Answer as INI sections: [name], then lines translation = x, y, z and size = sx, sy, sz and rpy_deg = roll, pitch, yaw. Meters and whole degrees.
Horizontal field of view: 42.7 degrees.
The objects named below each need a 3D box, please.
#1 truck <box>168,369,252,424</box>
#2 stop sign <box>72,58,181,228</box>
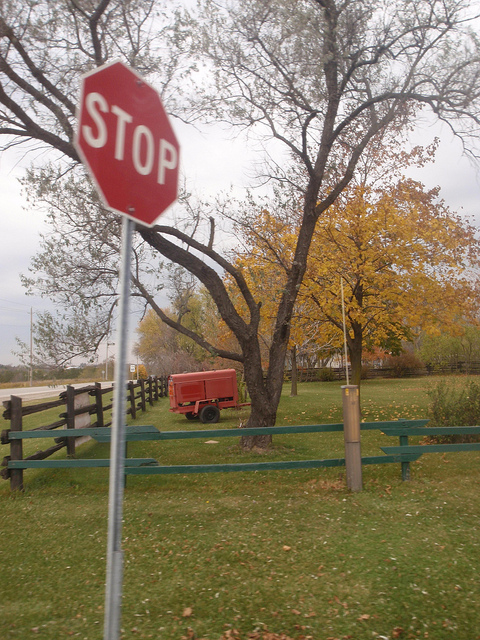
[truck]
translation = -0.936, 2.215, 18.793
size = 2.675, 1.540, 1.797
rpy_deg = -4, 5, -29
[stop sign]
translation = -0.578, -0.977, 3.312
size = 0.727, 0.929, 0.195
rpy_deg = 0, -5, -44
